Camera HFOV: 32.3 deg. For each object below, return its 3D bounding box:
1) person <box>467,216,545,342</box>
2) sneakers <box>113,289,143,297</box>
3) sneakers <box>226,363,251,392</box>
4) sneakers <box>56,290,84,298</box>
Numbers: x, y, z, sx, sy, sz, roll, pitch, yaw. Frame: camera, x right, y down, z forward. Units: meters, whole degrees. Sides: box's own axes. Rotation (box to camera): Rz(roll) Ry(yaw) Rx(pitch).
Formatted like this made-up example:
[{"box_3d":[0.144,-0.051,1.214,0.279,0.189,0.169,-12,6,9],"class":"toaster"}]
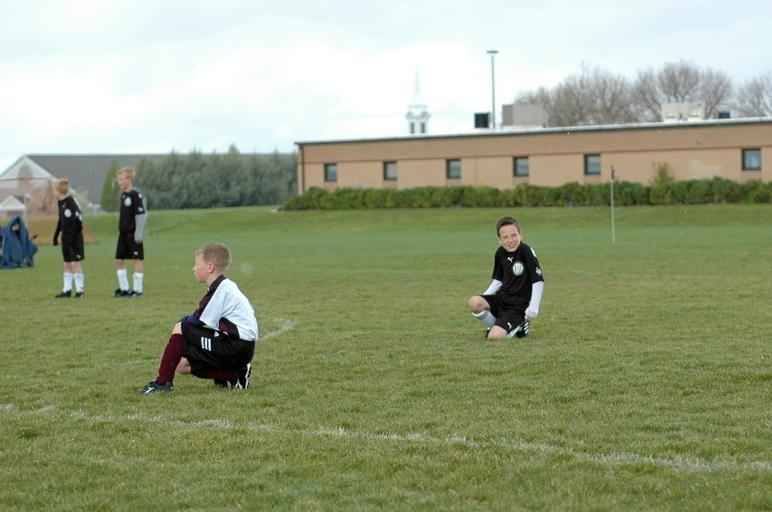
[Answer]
[{"box_3d":[2.114,0.373,22.903,1.196,2.071,0.573,-1,2,8],"class":"person"},{"box_3d":[-5.159,0.753,26.798,0.574,0.201,0.179,-2,8,-3],"class":"sneakers"},{"box_3d":[-2.277,1.912,20.760,0.226,0.242,0.572,3,8,7],"class":"sneakers"},{"box_3d":[-6.263,0.775,26.520,0.578,0.202,0.180,2,-2,-7],"class":"sneakers"}]
